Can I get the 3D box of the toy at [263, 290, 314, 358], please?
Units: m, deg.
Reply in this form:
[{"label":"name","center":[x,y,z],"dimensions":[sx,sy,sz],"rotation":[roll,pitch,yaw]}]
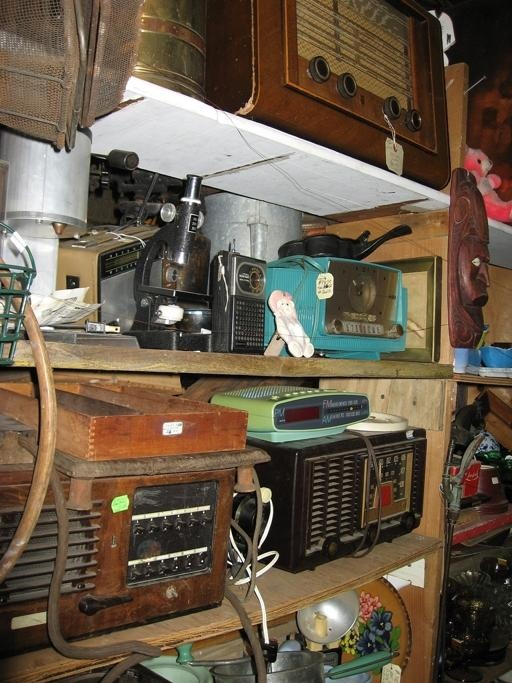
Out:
[{"label":"toy","center":[0.087,-0.039,1.176],"dimensions":[0.111,0.146,0.153],"rotation":[-1,4,-18]}]
